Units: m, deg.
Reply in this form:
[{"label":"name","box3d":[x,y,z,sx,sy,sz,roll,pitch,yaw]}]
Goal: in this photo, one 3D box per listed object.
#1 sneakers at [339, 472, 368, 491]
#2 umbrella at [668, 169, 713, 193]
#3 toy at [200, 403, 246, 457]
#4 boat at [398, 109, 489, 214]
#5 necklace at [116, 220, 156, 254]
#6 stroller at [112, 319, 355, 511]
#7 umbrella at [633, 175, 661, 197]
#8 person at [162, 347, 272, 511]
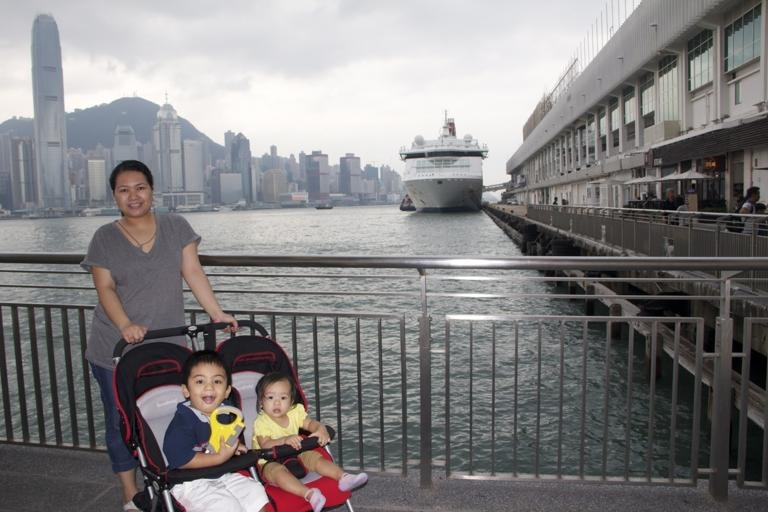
[{"label":"sneakers","box3d":[-0.244,1.670,4.885,0.211,0.121,0.092,-9,-18,36]},{"label":"umbrella","box3d":[10.963,-2.474,23.538,1.185,0.467,1.217,3,11,27]},{"label":"toy","box3d":[-1.168,1.257,4.747,0.231,0.315,0.096,31,-16,-2]},{"label":"boat","box3d":[7.718,-10.090,82.093,9.722,9.717,10.350,0,6,18]},{"label":"necklace","box3d":[-1.993,-0.132,5.326,0.223,0.283,0.180,0,-43,-52]},{"label":"stroller","box3d":[-1.233,1.396,4.883,1.339,1.072,1.679,-5,22,-35]},{"label":"umbrella","box3d":[11.910,-3.147,29.823,1.344,0.893,1.338,-1,8,8]},{"label":"person","box3d":[-1.243,1.277,4.792,0.710,1.155,0.308,-3,6,-9]}]
